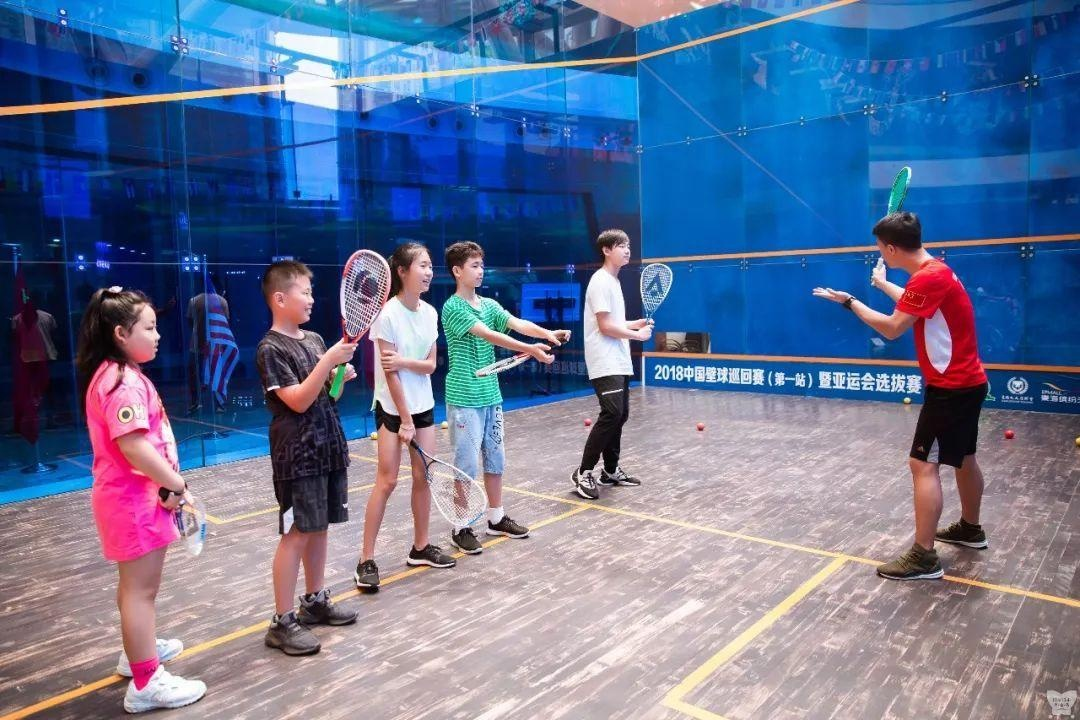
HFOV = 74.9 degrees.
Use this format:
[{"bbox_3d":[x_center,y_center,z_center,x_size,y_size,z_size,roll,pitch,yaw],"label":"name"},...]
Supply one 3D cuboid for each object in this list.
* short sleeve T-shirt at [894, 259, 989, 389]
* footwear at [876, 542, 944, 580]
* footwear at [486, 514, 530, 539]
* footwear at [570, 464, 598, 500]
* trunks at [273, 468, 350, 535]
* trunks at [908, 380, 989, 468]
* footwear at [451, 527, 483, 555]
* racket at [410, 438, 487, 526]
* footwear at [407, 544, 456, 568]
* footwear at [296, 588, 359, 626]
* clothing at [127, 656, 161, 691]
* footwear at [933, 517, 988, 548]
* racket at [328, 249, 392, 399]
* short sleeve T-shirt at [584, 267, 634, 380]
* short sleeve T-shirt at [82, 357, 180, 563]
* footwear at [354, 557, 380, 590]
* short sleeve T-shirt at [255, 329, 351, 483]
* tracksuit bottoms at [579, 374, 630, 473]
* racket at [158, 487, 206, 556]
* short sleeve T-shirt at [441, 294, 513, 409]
[{"bbox_3d":[2.848,-0.288,5.131,0.798,1.122,0.841,1,7,32],"label":"short sleeve T-shirt"},{"bbox_3d":[2.499,1.366,4.842,0.534,0.240,0.184,-1,4,6],"label":"footwear"},{"bbox_3d":[-0.246,1.300,5.534,0.348,0.154,0.143,0,-1,4],"label":"footwear"},{"bbox_3d":[0.398,1.084,6.250,0.138,0.233,0.238,-9,11,-32],"label":"footwear"},{"bbox_3d":[-1.357,0.757,4.264,0.274,0.442,0.474,4,8,31],"label":"trunks"},{"bbox_3d":[2.754,0.448,4.778,0.489,0.584,0.211,-4,10,-9],"label":"trunks"},{"bbox_3d":[-0.548,1.338,5.245,0.127,0.107,0.274,0,-4,-37],"label":"footwear"},{"bbox_3d":[-0.628,0.803,4.645,0.489,0.599,0.301,3,12,31],"label":"racket"},{"bbox_3d":[-0.794,1.409,5.100,0.314,0.127,0.156,2,-2,2],"label":"footwear"},{"bbox_3d":[-1.346,1.549,4.467,0.459,0.231,0.164,2,1,-7],"label":"footwear"},{"bbox_3d":[-2.134,1.661,3.822,0.140,0.162,0.169,4,1,43],"label":"clothing"},{"bbox_3d":[3.073,1.262,5.249,0.433,0.192,0.171,4,4,40],"label":"footwear"},{"bbox_3d":[-1.124,-0.265,4.373,0.324,0.957,0.099,7,-16,45],"label":"racket"},{"bbox_3d":[0.592,-0.338,6.288,0.391,0.974,0.359,-2,10,5],"label":"short sleeve T-shirt"},{"bbox_3d":[-2.175,0.522,3.761,0.408,1.050,0.291,-9,12,-32],"label":"short sleeve T-shirt"},{"bbox_3d":[-1.164,1.454,4.749,0.113,0.116,0.258,3,-7,-28],"label":"footwear"},{"bbox_3d":[-1.406,0.244,4.173,0.449,0.865,0.317,-6,11,-20],"label":"short sleeve T-shirt"},{"bbox_3d":[0.590,0.588,6.398,0.374,0.957,0.529,2,11,22],"label":"tracksuit bottoms"},{"bbox_3d":[-1.959,0.937,3.883,0.270,0.116,0.368,-19,11,-20],"label":"racket"},{"bbox_3d":[-0.463,-0.089,5.214,0.425,0.792,0.523,-5,-2,44],"label":"short sleeve T-shirt"}]
